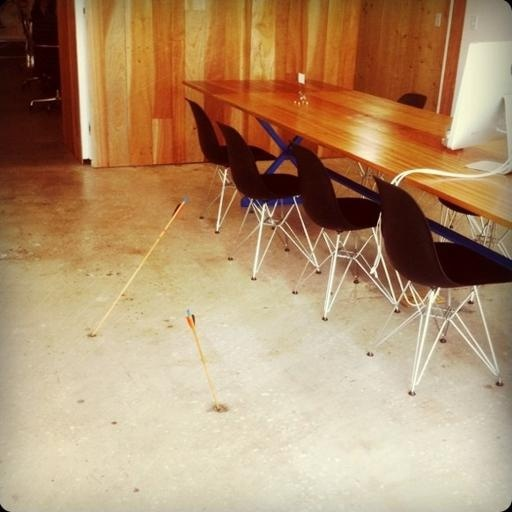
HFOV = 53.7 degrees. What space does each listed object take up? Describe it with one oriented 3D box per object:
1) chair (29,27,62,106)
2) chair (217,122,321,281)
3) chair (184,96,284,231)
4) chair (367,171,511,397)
[{"bbox_3d":[-3.204,-2.792,7.548,0.477,1.075,1.276,-8,20,-23],"label":"chair"},{"bbox_3d":[0.095,-0.343,3.276,0.358,0.706,0.460,-15,-4,-34],"label":"chair"},{"bbox_3d":[0.012,-0.593,3.912,0.649,1.016,0.609,-2,-13,22],"label":"chair"},{"bbox_3d":[0.821,0.035,2.257,0.599,0.845,0.912,4,19,13],"label":"chair"}]
